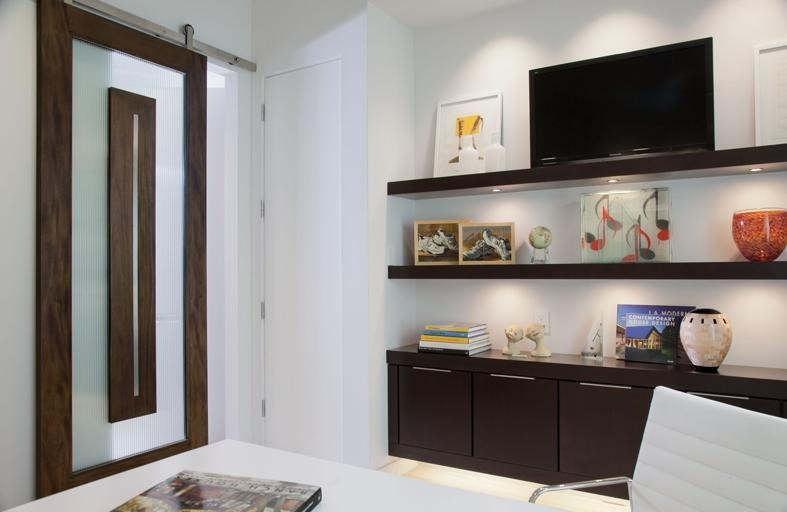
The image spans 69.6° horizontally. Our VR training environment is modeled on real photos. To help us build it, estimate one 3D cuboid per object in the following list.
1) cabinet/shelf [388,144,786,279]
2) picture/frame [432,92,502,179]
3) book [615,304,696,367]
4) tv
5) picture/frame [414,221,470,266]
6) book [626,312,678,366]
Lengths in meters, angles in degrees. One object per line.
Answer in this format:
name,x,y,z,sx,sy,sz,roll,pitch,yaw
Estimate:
cabinet/shelf,1.280,-0.232,3.909,2.476,0.824,0.279,-1,2,22
picture/frame,0.579,-0.910,4.352,0.706,0.856,0.040,-3,-11,31
book,1.718,0.534,3.883,0.437,0.364,0.148,9,-11,-16
tv,1.505,-0.998,3.862,1.161,0.705,0.039,0,9,31
picture/frame,0.375,-0.089,4.273,0.338,0.282,0.025,0,-4,22
book,1.733,0.563,3.771,0.331,0.335,0.035,-1,-16,28
